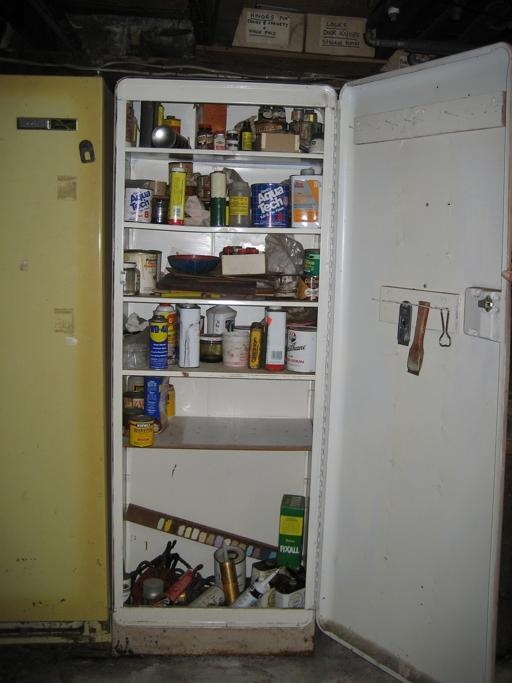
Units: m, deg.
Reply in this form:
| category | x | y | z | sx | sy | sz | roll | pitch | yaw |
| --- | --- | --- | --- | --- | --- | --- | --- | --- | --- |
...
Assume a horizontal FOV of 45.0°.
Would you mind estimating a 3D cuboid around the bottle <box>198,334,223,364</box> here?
| category | x | y | z | sx | sy | sz | roll | pitch | yaw |
| --- | --- | --- | --- | --- | --- | --- | --- | --- | --- |
| bottle | -0.176 | 0.030 | 2.476 | 0.097 | 0.103 | 0.097 | -4 | 8 | -41 |

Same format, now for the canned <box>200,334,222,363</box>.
| category | x | y | z | sx | sy | sz | roll | pitch | yaw |
| --- | --- | --- | --- | --- | --- | --- | --- | --- | --- |
| canned | -0.177 | 0.028 | 2.476 | 0.096 | 0.102 | 0.096 | -4 | 8 | -33 |

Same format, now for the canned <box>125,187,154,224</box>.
| category | x | y | z | sx | sy | sz | roll | pitch | yaw |
| --- | --- | --- | --- | --- | --- | --- | --- | --- | --- |
| canned | -0.423 | -0.488 | 2.232 | 0.115 | 0.128 | 0.116 | 5 | 25 | -6 |

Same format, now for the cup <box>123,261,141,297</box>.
| category | x | y | z | sx | sy | sz | roll | pitch | yaw |
| --- | --- | --- | --- | --- | --- | --- | --- | --- | --- |
| cup | -0.457 | -0.225 | 2.268 | 0.075 | 0.107 | 0.035 | 3 | 2 | 34 |

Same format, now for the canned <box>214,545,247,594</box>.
| category | x | y | z | sx | sy | sz | roll | pitch | yaw |
| --- | --- | --- | --- | --- | --- | --- | --- | --- | --- |
| canned | -0.105 | 0.917 | 2.596 | 0.156 | 0.170 | 0.158 | 6 | 16 | 16 |

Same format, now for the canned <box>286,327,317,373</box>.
| category | x | y | z | sx | sy | sz | roll | pitch | yaw |
| --- | --- | --- | --- | --- | --- | --- | --- | --- | --- |
| canned | 0.171 | 0.026 | 2.397 | 0.147 | 0.164 | 0.149 | 5 | 10 | 13 |

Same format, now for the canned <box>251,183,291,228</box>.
| category | x | y | z | sx | sy | sz | roll | pitch | yaw |
| --- | --- | --- | --- | --- | --- | --- | --- | --- | --- |
| canned | 0.058 | -0.524 | 2.327 | 0.157 | 0.174 | 0.159 | 10 | 21 | 23 |

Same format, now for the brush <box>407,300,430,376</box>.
| category | x | y | z | sx | sy | sz | roll | pitch | yaw |
| --- | --- | --- | --- | --- | --- | --- | --- | --- | --- |
| brush | 0.523 | -0.010 | 2.008 | 0.013 | 0.240 | 0.075 | -2 | 6 | -34 |

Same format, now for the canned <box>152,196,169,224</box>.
| category | x | y | z | sx | sy | sz | roll | pitch | yaw |
| --- | --- | --- | --- | --- | --- | --- | --- | --- | --- |
| canned | -0.363 | -0.495 | 2.342 | 0.092 | 0.098 | 0.093 | 2 | 11 | 7 |
